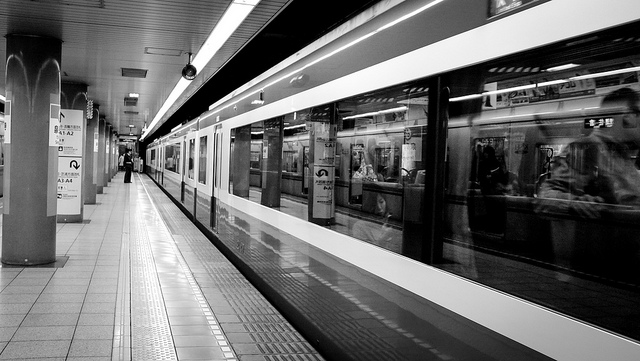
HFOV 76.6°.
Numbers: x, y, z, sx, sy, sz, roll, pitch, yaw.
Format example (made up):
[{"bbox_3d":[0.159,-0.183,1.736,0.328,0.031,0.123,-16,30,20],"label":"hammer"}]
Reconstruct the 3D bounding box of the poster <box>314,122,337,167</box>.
[{"bbox_3d":[0.068,-0.382,4.317,0.075,0.620,0.525,-2,4,-31],"label":"poster"}]

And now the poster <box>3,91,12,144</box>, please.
[{"bbox_3d":[-5.074,-1.020,6.616,0.284,0.851,0.064,9,6,41],"label":"poster"}]

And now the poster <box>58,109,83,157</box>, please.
[{"bbox_3d":[-6.238,-1.206,10.218,0.484,1.179,0.549,2,5,-30],"label":"poster"}]

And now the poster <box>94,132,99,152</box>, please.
[{"bbox_3d":[-7.528,-1.307,13.675,0.090,0.647,0.559,2,5,-32],"label":"poster"}]
